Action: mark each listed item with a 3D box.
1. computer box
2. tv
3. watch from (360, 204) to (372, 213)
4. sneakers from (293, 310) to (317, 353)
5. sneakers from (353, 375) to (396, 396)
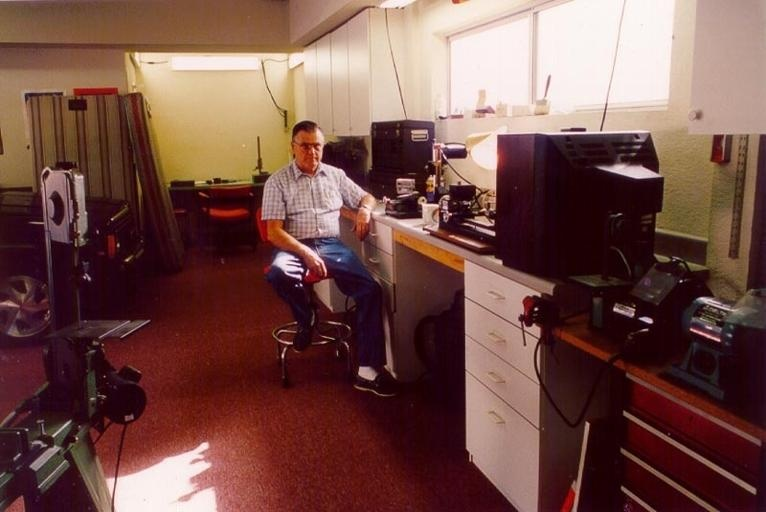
[{"bbox_3d":[0.152,-0.752,4.465,0.339,0.584,0.579,-3,10,-23],"label":"computer box"},{"bbox_3d":[0.857,-0.229,2.609,0.644,0.588,0.651,-5,12,-19],"label":"tv"},{"bbox_3d":[-0.112,-0.340,4.070,0.052,0.018,0.053,14,10,-42],"label":"watch"},{"bbox_3d":[-0.528,0.524,3.825,0.108,0.323,0.122,6,-15,20],"label":"sneakers"},{"bbox_3d":[-0.039,0.834,3.659,0.207,0.078,0.121,5,7,20],"label":"sneakers"}]
